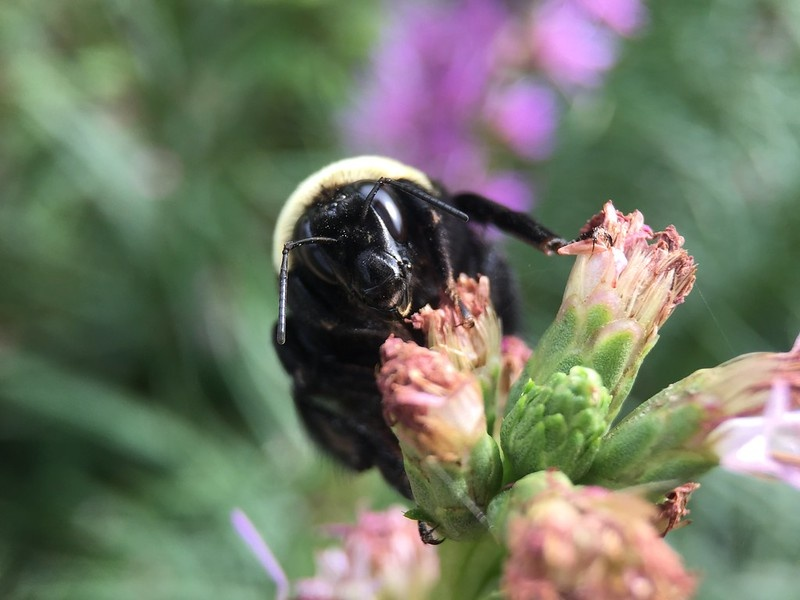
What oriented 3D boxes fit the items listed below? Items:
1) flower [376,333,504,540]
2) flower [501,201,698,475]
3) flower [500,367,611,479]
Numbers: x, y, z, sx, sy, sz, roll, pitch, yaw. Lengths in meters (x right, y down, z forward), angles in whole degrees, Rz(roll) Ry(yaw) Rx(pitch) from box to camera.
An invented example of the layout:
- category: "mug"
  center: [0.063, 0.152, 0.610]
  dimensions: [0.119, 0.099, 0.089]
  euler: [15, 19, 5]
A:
- category: "flower"
  center: [0.065, 0.160, 1.043]
  dimensions: [0.136, 0.232, 0.097]
  euler: [-23, 13, 20]
- category: "flower"
  center: [0.268, 0.010, 1.097]
  dimensions: [0.316, 0.094, 0.220]
  euler: [-48, 12, -7]
- category: "flower"
  center: [0.177, 0.153, 1.013]
  dimensions: [0.149, 0.087, 0.078]
  euler: [-57, 20, 34]
